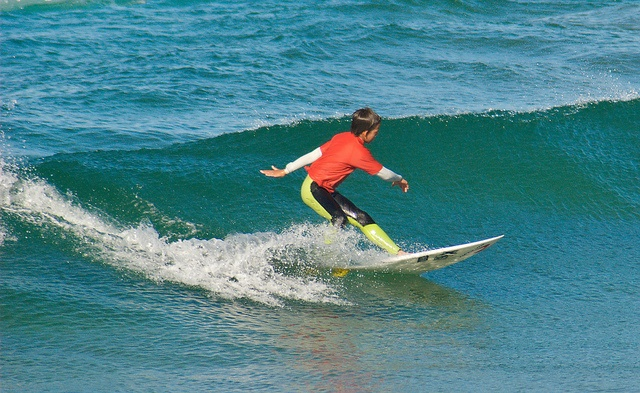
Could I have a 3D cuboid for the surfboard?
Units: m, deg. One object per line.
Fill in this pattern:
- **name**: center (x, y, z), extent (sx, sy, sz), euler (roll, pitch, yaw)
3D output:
- **surfboard**: center (1.923, 1.560, 24.694), extent (5.246, 0.461, 0.537), euler (-12, 31, 38)
